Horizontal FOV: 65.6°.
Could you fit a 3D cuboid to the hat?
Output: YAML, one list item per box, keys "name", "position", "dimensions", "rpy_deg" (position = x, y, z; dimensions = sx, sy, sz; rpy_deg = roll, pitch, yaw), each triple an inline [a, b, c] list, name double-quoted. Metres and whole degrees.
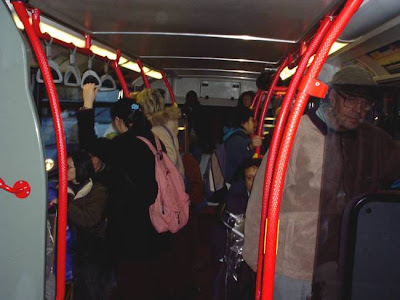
- name: "hat"
  position: [0.811, -0.340, 1.667]
  dimensions: [0.148, 0.122, 0.216]
  rpy_deg: [25, 4, -6]
